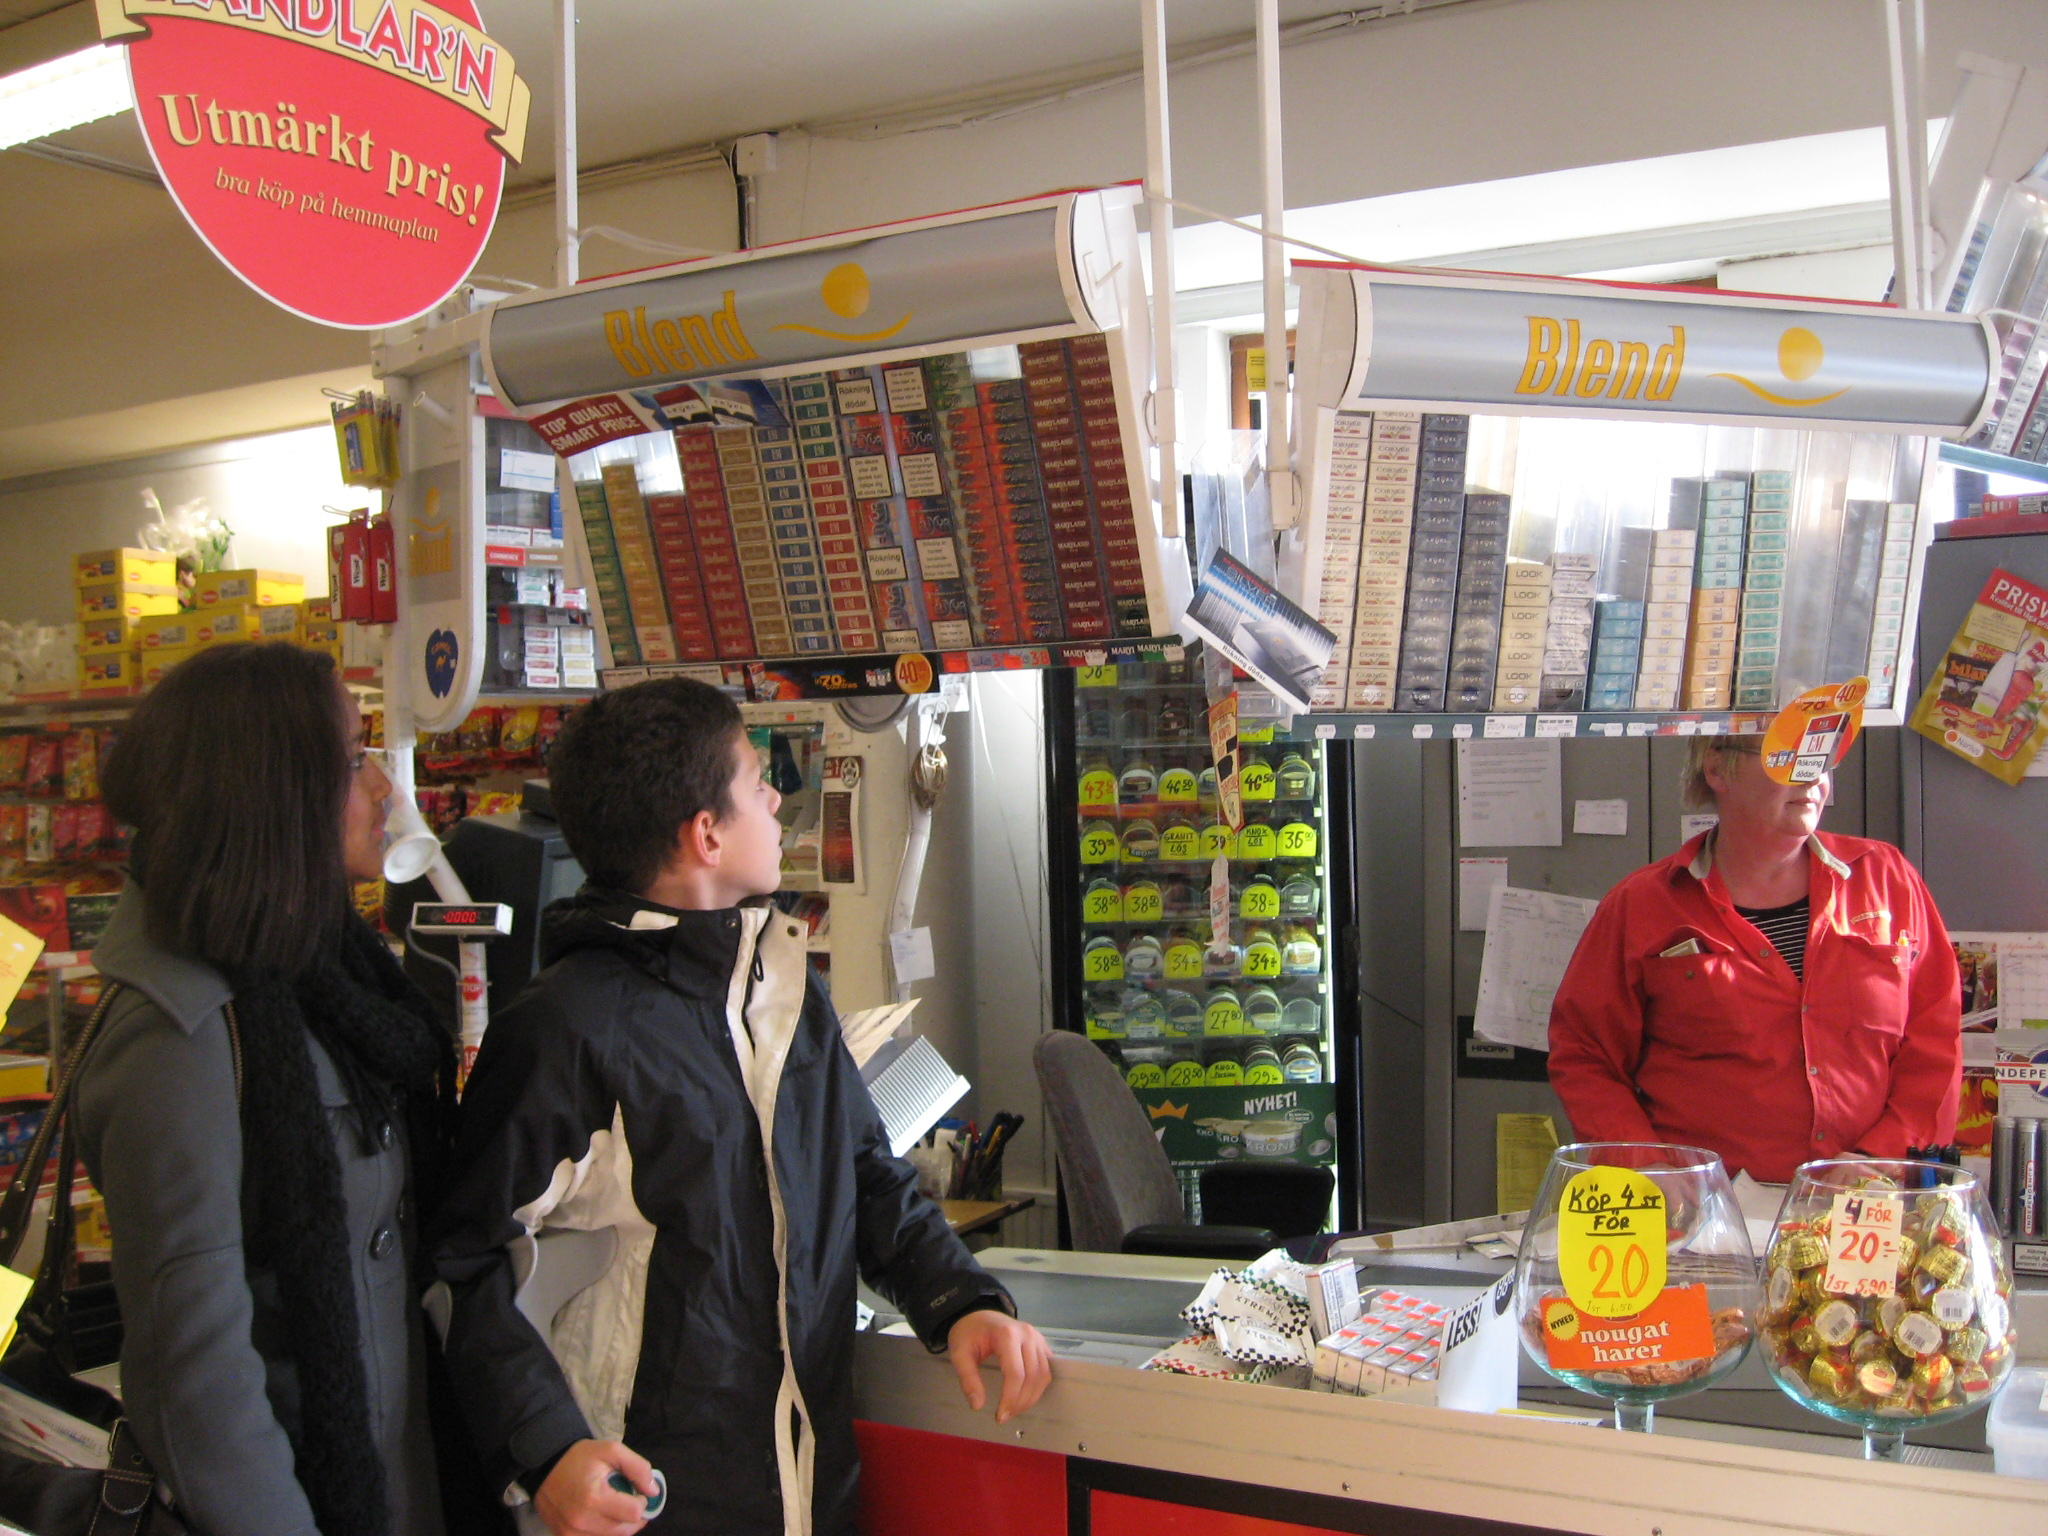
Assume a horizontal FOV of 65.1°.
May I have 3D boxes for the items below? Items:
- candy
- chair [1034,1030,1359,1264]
[{"bbox_3d":[1.021,0.606,1.989,0.291,0.303,0.276,-2,1,13],"label":"candy"},{"bbox_3d":[0.505,0.994,4.380,0.705,0.911,0.667,-5,-2,17],"label":"chair"}]
